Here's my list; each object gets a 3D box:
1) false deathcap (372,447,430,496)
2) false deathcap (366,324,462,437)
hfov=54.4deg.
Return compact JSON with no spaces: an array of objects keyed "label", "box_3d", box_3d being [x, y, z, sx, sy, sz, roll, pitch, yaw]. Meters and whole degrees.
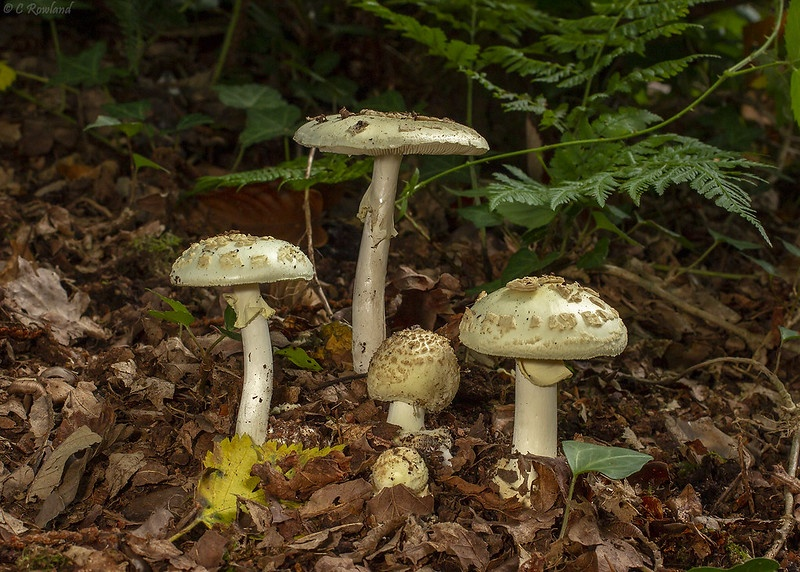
[{"label":"false deathcap","box_3d":[0.008,1.295,5.459,0.403,0.210,0.318,6,52,-1]},{"label":"false deathcap","box_3d":[0.071,0.695,5.773,0.619,0.600,0.660,32,57,18]}]
